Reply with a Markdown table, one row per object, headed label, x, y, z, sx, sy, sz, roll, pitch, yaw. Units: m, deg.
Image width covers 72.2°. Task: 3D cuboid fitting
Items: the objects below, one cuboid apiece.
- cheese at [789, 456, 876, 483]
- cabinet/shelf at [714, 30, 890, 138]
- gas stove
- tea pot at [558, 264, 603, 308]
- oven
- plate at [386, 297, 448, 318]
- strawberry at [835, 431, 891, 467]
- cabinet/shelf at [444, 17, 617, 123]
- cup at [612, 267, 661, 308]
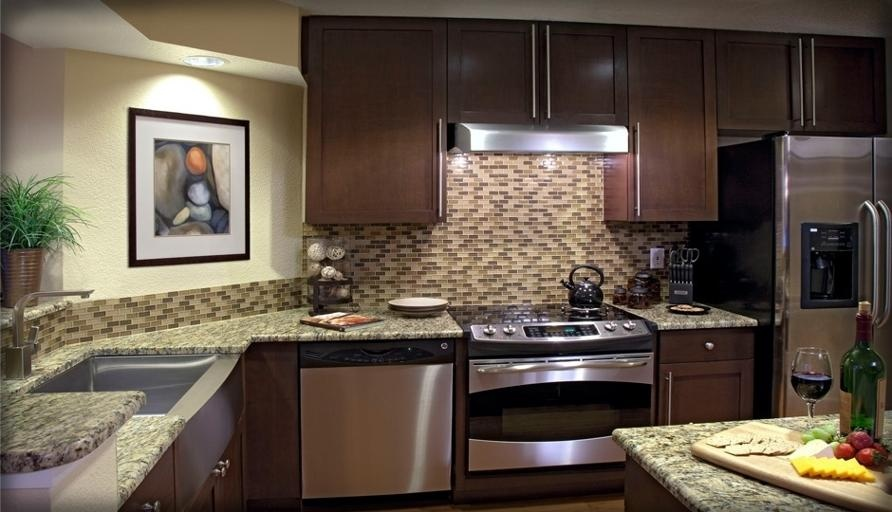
| label | x | y | z | sx | sy | sz | roll | pitch | yaw |
| --- | --- | --- | --- | --- | --- | --- | --- | --- | --- |
| cheese | 1.520 | 0.831 | 2.420 | 0.221 | 0.033 | 0.114 | 0 | 7 | 3 |
| cabinet/shelf | 2.459 | -1.226 | 4.336 | 0.972 | 0.483 | 0.346 | 1 | -2 | -4 |
| gas stove | 0.698 | 0.479 | 4.188 | 1.297 | 0.209 | 0.610 | 0 | 14 | -6 |
| tea pot | 0.955 | 0.209 | 4.349 | 0.327 | 0.289 | 0.250 | -1 | 9 | -4 |
| oven | 0.628 | 1.037 | 4.281 | 1.399 | 0.727 | 0.870 | 3 | -9 | -22 |
| plate | -0.195 | 0.350 | 4.257 | 0.381 | 0.105 | 0.254 | 1 | 14 | 1 |
| strawberry | 1.659 | 0.775 | 2.453 | 0.167 | 0.061 | 0.156 | -2 | 0 | 16 |
| cabinet/shelf | 0.583 | -1.265 | 4.370 | 1.365 | 0.677 | 0.449 | -3 | 8 | -15 |
| cup | 1.463 | 0.238 | 4.538 | 0.394 | 0.242 | 0.216 | -3 | 5 | -31 |
